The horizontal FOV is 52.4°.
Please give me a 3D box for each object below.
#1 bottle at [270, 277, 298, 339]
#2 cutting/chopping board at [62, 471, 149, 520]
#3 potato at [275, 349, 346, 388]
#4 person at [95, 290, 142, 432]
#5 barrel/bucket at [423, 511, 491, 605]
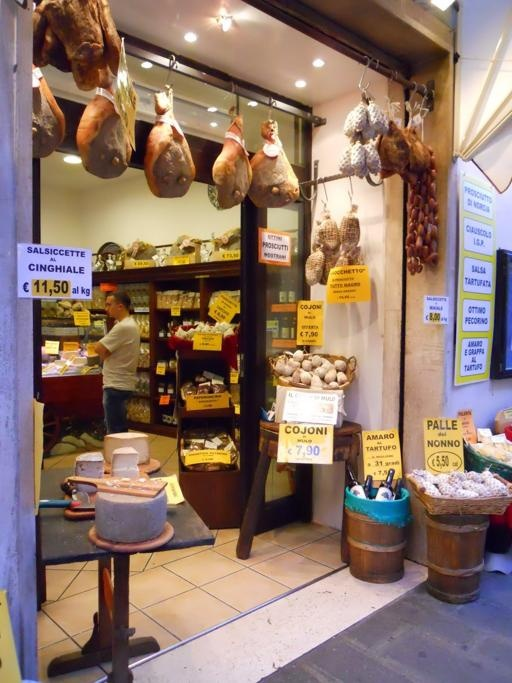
[{"bbox_3d":[0.185,-0.218,3.453,0.063,0.412,0.297,-1,-1,38],"label":"bottle"},{"bbox_3d":[-0.463,0.455,1.581,0.217,0.087,0.173,1,4,-5],"label":"cutting/chopping board"},{"bbox_3d":[0.345,0.168,3.126,0.526,0.215,0.435,0,-1,4],"label":"potato"},{"bbox_3d":[-1.144,0.169,4.299,0.340,1.202,0.495,0,-1,-15],"label":"person"},{"bbox_3d":[0.917,1.048,2.579,0.325,0.435,0.375,1,-10,0],"label":"barrel/bucket"}]
